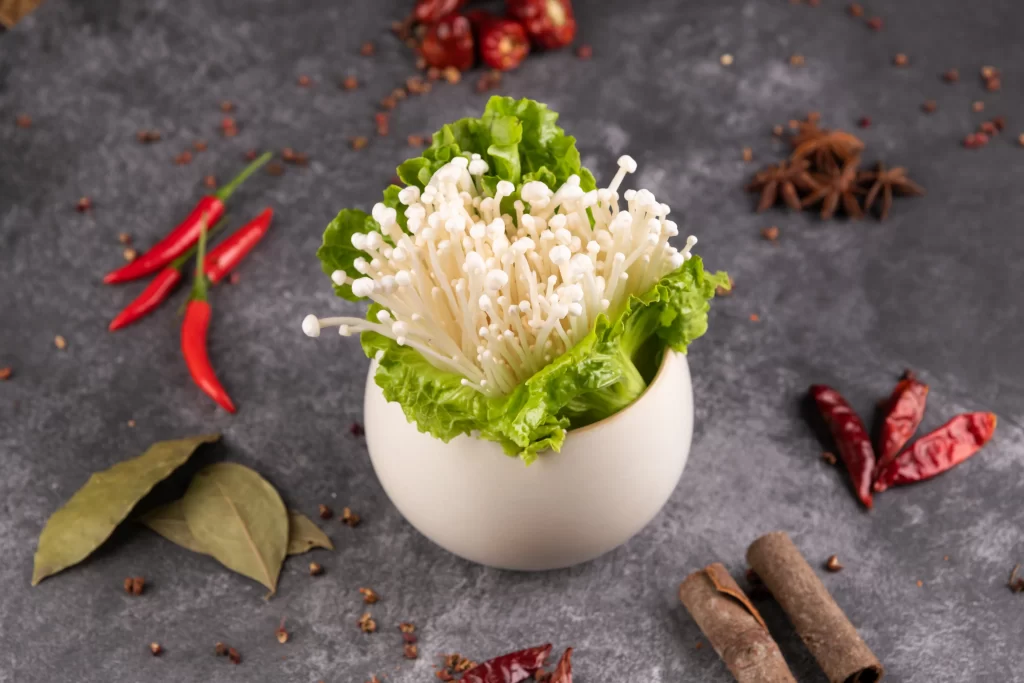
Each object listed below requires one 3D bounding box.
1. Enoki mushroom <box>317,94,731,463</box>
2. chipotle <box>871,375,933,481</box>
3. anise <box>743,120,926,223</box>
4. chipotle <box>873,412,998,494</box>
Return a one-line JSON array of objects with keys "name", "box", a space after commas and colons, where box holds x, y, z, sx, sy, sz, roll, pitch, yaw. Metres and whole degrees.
[{"name": "Enoki mushroom", "box": [0.017, -0.097, 1.903, 0.551, 0.891, 0.527, -2, 33, -7]}, {"name": "chipotle", "box": [0.831, 0.211, 2.288, 0.120, 0.230, 0.113, -12, 24, -13]}, {"name": "anise", "box": [0.771, -0.419, 2.483, 0.399, 0.085, 0.262, 8, 77, 1]}, {"name": "chipotle", "box": [0.912, 0.246, 2.236, 0.291, 0.070, 0.096, -32, 42, 5]}]
